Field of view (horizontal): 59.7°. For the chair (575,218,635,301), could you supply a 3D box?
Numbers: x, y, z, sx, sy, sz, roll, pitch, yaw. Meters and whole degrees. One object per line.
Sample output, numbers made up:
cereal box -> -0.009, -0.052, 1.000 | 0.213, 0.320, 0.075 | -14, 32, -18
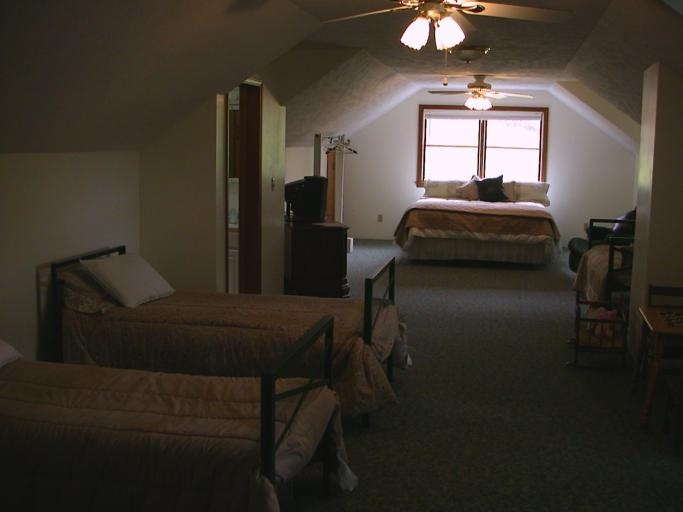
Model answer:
chair -> 2.260, 0.040, 5.059 | 0.354, 0.365, 0.759 | 2, 15, 12

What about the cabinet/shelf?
cabinet/shelf -> -0.285, -0.216, 6.091 | 0.563, 0.742, 1.095 | -1, 8, -5

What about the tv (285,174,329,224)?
tv -> -0.286, -0.613, 6.412 | 0.505, 0.521, 0.359 | 4, 5, 16

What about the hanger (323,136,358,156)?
hanger -> -0.051, -1.477, 7.862 | 0.416, 0.259, 0.584 | 2, 12, -1

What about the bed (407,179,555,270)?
bed -> 1.853, -0.502, 8.397 | 2.106, 0.993, 1.686 | 2, 11, 8

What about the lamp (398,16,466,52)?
lamp -> 0.548, -1.363, 3.616 | 0.368, 0.192, 0.297 | 1, 11, 4

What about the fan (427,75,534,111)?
fan -> 1.922, -2.176, 7.895 | 0.861, 0.310, 0.900 | 5, 7, 28
